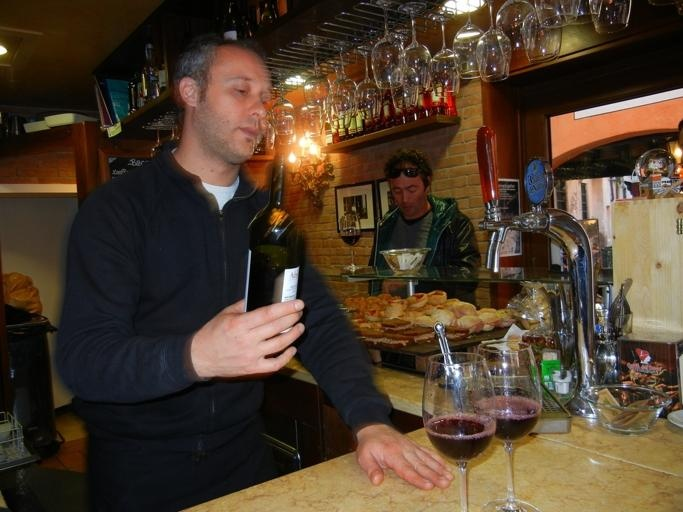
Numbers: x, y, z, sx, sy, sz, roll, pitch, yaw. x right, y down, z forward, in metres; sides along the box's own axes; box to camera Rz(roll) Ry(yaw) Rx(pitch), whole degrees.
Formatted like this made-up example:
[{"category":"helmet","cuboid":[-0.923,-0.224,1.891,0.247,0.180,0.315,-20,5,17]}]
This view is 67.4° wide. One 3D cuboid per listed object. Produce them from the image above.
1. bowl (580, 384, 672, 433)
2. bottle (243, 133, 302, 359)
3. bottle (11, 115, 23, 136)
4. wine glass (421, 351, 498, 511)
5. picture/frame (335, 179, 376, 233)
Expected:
[{"category":"bowl","cuboid":[0.818,0.426,1.429,0.255,0.107,0.130,-2,2,-2]},{"category":"bottle","cuboid":[-0.196,-0.080,1.402,0.149,0.428,0.290,-3,2,-6]},{"category":"bottle","cuboid":[-3.194,-1.295,4.989,0.082,0.167,0.322,-4,3,-32]},{"category":"wine glass","cuboid":[0.252,0.389,1.090,0.148,0.325,0.082,-2,2,7]},{"category":"picture/frame","cuboid":[0.139,-0.471,4.615,0.025,0.549,0.602,5,-9,-38]}]
